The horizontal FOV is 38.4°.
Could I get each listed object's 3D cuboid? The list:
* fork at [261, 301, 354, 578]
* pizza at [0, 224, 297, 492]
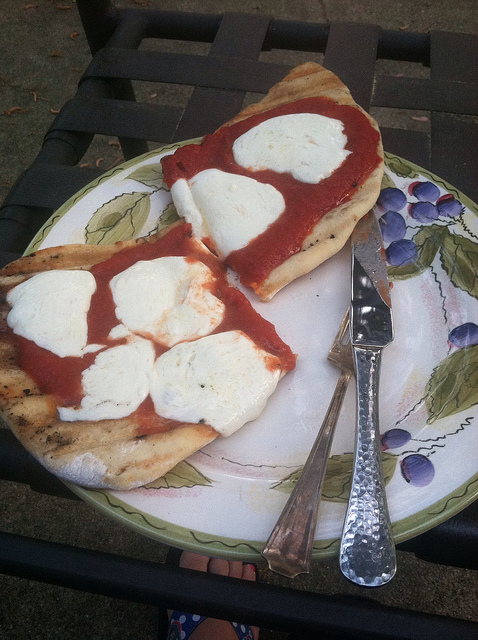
[{"bbox_3d":[0.149,0.129,0.986,0.082,0.043,0.483,16,56,17],"label":"fork"},{"bbox_3d":[-0.156,0.039,0.990,0.392,0.084,0.427,-22,54,-13],"label":"pizza"}]
